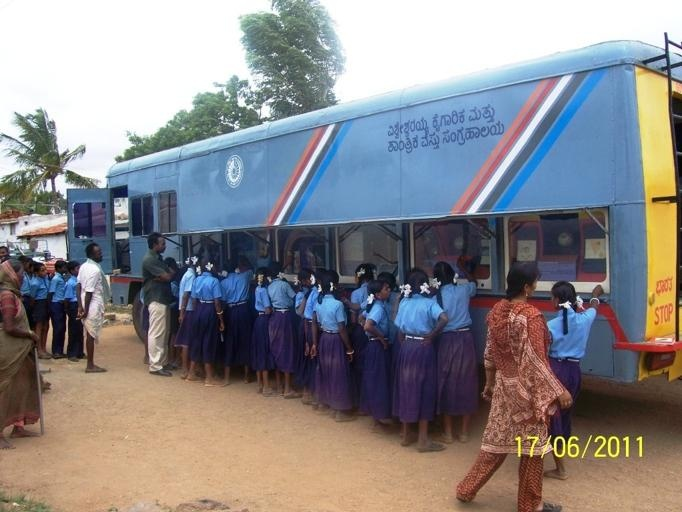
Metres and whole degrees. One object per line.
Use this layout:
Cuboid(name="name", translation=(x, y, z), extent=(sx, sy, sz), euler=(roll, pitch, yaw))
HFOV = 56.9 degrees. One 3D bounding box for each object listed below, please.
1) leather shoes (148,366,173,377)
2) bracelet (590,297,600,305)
Cuboid(name="leather shoes", translation=(-2.757, 1.824, 9.780), extent=(0.436, 0.198, 0.153), euler=(-1, -1, 2))
Cuboid(name="bracelet", translation=(2.346, 0.414, 5.833), extent=(0.068, 0.054, 0.072), euler=(0, 0, 7))
